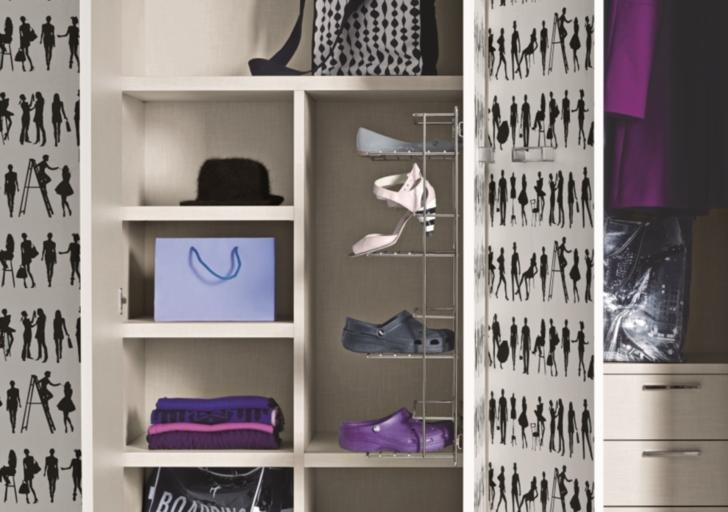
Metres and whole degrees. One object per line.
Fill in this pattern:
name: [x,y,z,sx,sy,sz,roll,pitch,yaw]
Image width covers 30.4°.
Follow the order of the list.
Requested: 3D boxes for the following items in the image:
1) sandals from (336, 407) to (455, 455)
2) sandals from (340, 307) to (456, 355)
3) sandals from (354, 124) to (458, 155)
sandals: [0.122,0.721,5.471,0.329,0.155,0.223,0,-8,-1]
sandals: [0.125,0.326,5.486,0.341,0.166,0.213,0,-5,0]
sandals: [0.172,-0.444,5.485,0.415,0.157,0.154,-1,-1,0]
